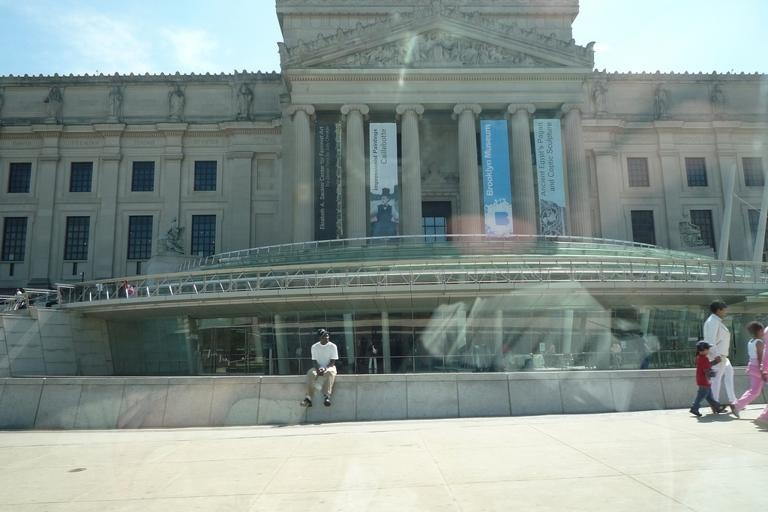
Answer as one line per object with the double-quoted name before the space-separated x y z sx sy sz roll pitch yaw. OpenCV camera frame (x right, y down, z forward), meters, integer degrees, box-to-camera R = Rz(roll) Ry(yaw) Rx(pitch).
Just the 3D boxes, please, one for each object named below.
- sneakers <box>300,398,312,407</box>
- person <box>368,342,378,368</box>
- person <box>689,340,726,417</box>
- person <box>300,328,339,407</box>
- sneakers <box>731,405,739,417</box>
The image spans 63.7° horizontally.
"sneakers" -2.308 4.393 18.544 0.400 0.241 0.176 2 -12 -1
"person" -0.590 4.979 30.763 0.476 1.392 0.223 -2 -4 8
"person" 8.993 3.411 17.443 0.829 2.024 1.075 -2 -4 10
"person" -1.937 3.419 18.763 0.960 2.285 0.493 -1 -4 -7
"sneakers" 9.496 4.186 16.741 0.119 0.329 0.146 -23 -3 27
